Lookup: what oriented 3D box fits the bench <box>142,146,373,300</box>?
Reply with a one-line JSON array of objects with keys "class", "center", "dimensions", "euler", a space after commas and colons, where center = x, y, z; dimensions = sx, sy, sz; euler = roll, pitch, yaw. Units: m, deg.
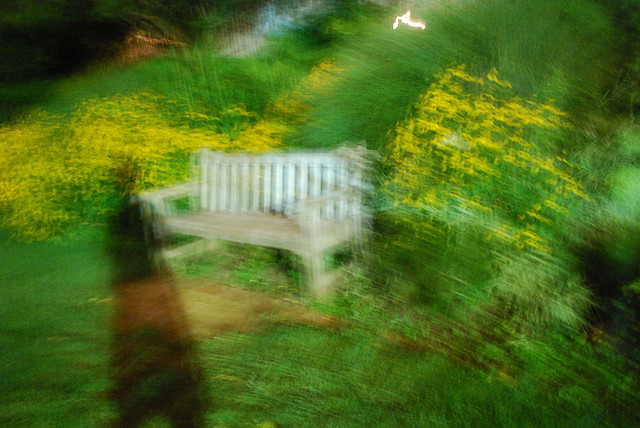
[{"class": "bench", "center": [-0.214, 0.013, 1.953], "dimensions": [0.605, 0.284, 0.445], "euler": [5, 96, 28]}]
